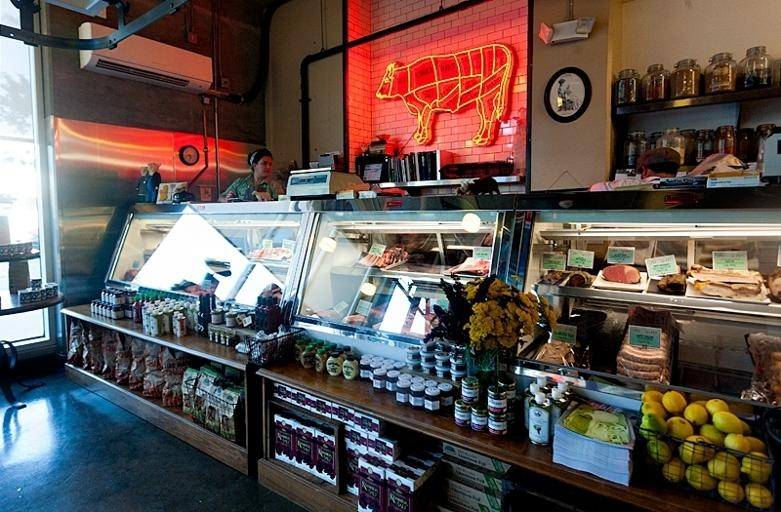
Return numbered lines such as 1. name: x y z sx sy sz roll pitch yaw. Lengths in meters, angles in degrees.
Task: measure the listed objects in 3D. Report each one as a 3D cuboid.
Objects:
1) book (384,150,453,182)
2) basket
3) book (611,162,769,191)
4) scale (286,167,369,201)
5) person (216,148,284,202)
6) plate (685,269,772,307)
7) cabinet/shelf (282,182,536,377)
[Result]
1. book: 0.317 -1.112 6.415 0.792 0.378 0.303 2 3 25
2. basket: 1.688 0.948 2.670 0.677 0.279 0.408 4 4 36
3. book: 1.808 -0.486 3.175 0.788 0.181 0.551 2 3 22
4. scale: -0.507 -0.552 4.353 0.435 0.177 0.396 2 5 37
5. person: -1.469 -0.862 5.437 0.507 0.600 1.236 0 3 -18
6. plate: 1.947 0.173 2.941 0.273 0.075 0.273 7 15 36
7. cabinet/shelf: 0.273 0.363 3.941 2.090 1.148 1.079 4 3 29
